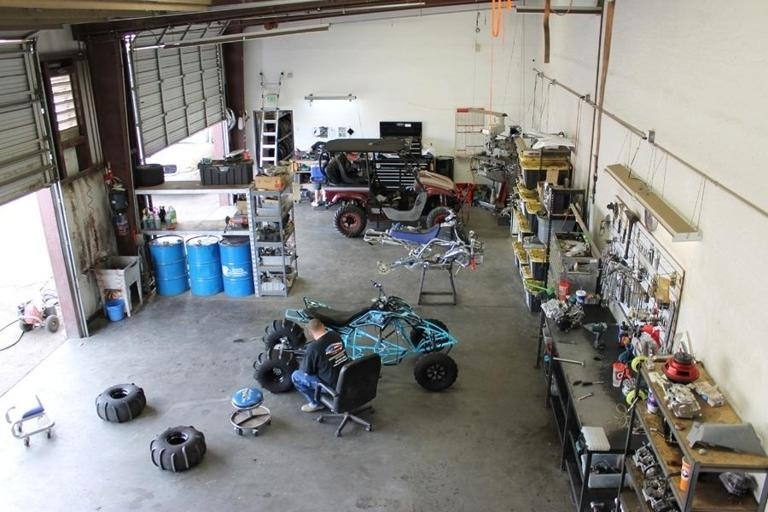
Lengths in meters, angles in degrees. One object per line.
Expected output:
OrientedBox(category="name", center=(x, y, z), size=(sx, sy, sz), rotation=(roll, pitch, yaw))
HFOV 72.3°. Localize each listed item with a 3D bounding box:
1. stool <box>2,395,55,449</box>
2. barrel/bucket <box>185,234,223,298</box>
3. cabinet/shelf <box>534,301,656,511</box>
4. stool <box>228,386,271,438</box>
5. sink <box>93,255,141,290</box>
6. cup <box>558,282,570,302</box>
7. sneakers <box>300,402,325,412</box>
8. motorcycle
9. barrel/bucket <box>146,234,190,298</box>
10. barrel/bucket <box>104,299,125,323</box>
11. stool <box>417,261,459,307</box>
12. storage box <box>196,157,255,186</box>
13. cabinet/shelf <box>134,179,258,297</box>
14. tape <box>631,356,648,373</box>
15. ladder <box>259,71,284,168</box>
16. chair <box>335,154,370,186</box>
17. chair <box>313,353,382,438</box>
OrientedBox(category="stool", center=(-4.436, 2.001, 6.566), size=(0.467, 0.454, 0.793), rotation=(-7, 7, -37))
OrientedBox(category="barrel/bucket", center=(-3.129, 0.234, 9.173), size=(0.576, 0.941, 0.246), rotation=(-8, 20, -16))
OrientedBox(category="cabinet/shelf", center=(2.279, 1.657, 5.642), size=(0.574, 0.808, 2.041), rotation=(-2, 24, 4))
OrientedBox(category="stool", center=(-1.677, 1.913, 6.546), size=(0.505, 0.406, 0.529), rotation=(-6, 19, -12))
OrientedBox(category="sink", center=(-4.448, 0.251, 8.777), size=(0.584, 0.462, 0.653), rotation=(0, 19, 6))
OrientedBox(category="cup", center=(2.396, 0.488, 6.995), size=(0.160, 0.256, 0.162), rotation=(-4, 21, 2))
OrientedBox(category="sneakers", center=(-0.914, 1.927, 6.746), size=(0.310, 0.126, 0.118), rotation=(1, 19, -6))
OrientedBox(category="motorcycle", center=(-0.377, 1.128, 7.370), size=(2.543, 1.175, 1.455), rotation=(-2, 21, 1))
OrientedBox(category="barrel/bucket", center=(-3.749, 0.223, 9.215), size=(0.555, 0.941, 0.285), rotation=(-11, 21, -23))
OrientedBox(category="barrel/bucket", center=(-4.354, 0.892, 8.508), size=(0.312, 0.288, 0.340), rotation=(1, 6, 0))
OrientedBox(category="stool", center=(0.951, 0.473, 9.164), size=(0.715, 0.755, 0.694), rotation=(2, 8, 6))
OrientedBox(category="storage box", center=(-2.767, -1.465, 9.230), size=(0.935, 0.408, 0.428), rotation=(2, 19, 11))
OrientedBox(category="cabinet/shelf", center=(-3.316, -0.248, 9.270), size=(2.472, 2.164, 1.761), rotation=(0, 8, -3))
OrientedBox(category="tape", center=(2.498, 1.066, 5.135), size=(0.068, 0.193, 0.202), rotation=(25, -11, 19))
OrientedBox(category="ladder", center=(-3.007, -3.599, 13.761), size=(0.717, 2.288, 0.713), rotation=(1, 20, 10))
OrientedBox(category="chair", center=(-0.730, -1.985, 11.836), size=(0.684, 0.682, 0.747), rotation=(-3, 19, -4))
OrientedBox(category="chair", center=(-0.459, 1.687, 6.313), size=(0.751, 0.907, 0.703), rotation=(-15, 28, -37))
